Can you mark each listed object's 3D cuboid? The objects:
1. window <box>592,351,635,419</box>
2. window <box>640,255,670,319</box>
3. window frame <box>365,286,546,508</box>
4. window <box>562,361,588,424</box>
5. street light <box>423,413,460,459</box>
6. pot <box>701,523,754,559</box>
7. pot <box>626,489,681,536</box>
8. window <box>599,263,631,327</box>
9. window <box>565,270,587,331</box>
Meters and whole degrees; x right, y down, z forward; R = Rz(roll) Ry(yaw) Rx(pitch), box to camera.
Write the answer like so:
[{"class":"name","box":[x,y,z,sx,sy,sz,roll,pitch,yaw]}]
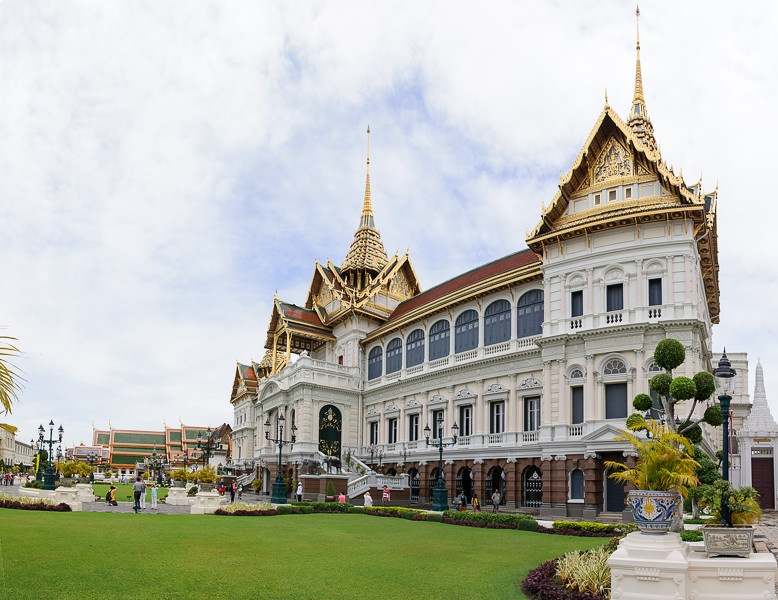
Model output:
[{"class":"window","box":[10.832,4.165,42.783,1.773,3.363,0.439,-3,20,12]},{"class":"window","box":[12.641,-0.464,42.554,1.152,3.086,0.667,-5,-20,18]},{"class":"window frame","box":[4.168,5.900,52.198,0.360,8.183,11.641,14,-23,-29]},{"class":"window","box":[9.137,4.560,44.215,1.381,2.872,0.525,-15,-25,40]},{"class":"street light","box":[3.177,7.927,52.279,2.894,3.067,0.735,-11,-20,40]},{"class":"pot","box":[8.374,5.937,22.181,0.825,0.564,1.043,1,-25,9]},{"class":"pot","box":[6.665,5.312,22.608,1.384,1.016,1.367,2,-13,0]},{"class":"window","box":[11.084,-0.320,43.924,1.300,2.914,0.283,-7,-40,23]},{"class":"window","box":[9.484,0.105,45.152,0.914,2.838,0.484,-15,-25,40]}]
